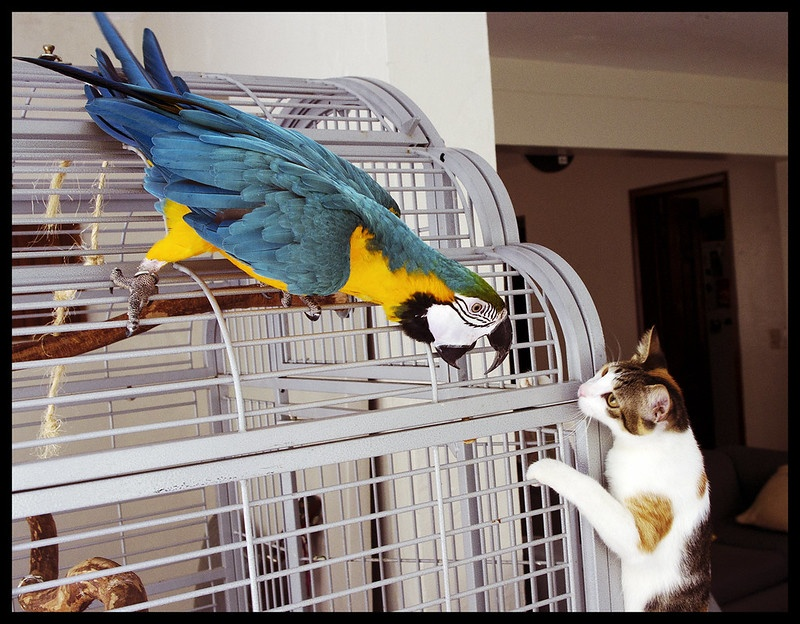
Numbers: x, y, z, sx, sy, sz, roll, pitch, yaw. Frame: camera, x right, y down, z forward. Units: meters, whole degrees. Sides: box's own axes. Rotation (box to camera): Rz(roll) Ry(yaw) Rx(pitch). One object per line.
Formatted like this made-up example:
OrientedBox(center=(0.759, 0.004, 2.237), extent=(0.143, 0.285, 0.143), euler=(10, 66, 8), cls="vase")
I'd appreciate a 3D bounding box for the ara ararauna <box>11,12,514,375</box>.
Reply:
OrientedBox(center=(-0.226, -0.185, 1.603), extent=(0.342, 1.006, 0.333), euler=(-54, -11, 34), cls="ara ararauna")
